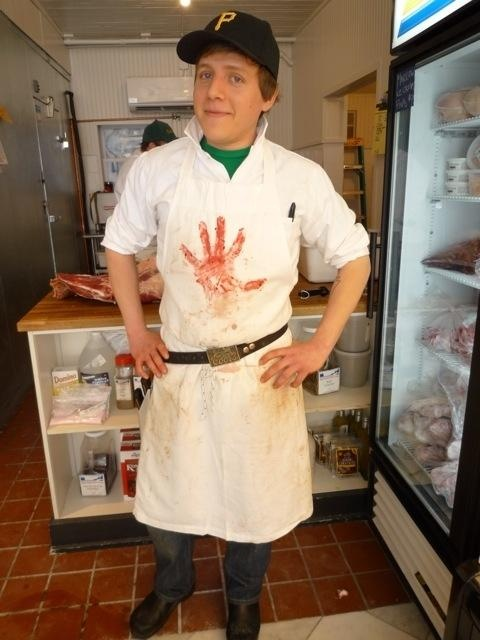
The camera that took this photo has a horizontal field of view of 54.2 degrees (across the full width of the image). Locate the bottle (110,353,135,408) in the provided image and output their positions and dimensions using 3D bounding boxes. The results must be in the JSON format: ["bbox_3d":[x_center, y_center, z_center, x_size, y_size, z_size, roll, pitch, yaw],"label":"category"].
[{"bbox_3d":[-0.463,0.249,1.897,0.086,0.203,0.084,0,13,0],"label":"bottle"}]

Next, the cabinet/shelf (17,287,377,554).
[{"bbox_3d":[-0.135,0.348,1.572,1.074,0.853,0.338,-2,19,-8],"label":"cabinet/shelf"}]

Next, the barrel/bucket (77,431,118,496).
[{"bbox_3d":[-0.664,0.637,2.099,0.172,0.260,0.194,-9,-15,35],"label":"barrel/bucket"}]

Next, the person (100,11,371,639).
[{"bbox_3d":[0.005,-0.058,1.249,0.708,1.330,0.317,-3,13,-11],"label":"person"}]

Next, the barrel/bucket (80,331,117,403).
[{"bbox_3d":[-0.606,0.184,1.988,0.155,0.268,0.150,2,17,-1],"label":"barrel/bucket"}]

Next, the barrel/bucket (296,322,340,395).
[{"bbox_3d":[0.359,0.203,2.037,0.152,0.204,0.145,-2,25,1],"label":"barrel/bucket"}]

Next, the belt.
[{"bbox_3d":[-0.012,0.045,1.094,0.220,0.044,0.239,-5,-24,-32],"label":"belt"}]

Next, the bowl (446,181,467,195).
[{"bbox_3d":[0.702,-0.431,1.528,0.031,0.042,0.075,-6,14,-24],"label":"bowl"}]
